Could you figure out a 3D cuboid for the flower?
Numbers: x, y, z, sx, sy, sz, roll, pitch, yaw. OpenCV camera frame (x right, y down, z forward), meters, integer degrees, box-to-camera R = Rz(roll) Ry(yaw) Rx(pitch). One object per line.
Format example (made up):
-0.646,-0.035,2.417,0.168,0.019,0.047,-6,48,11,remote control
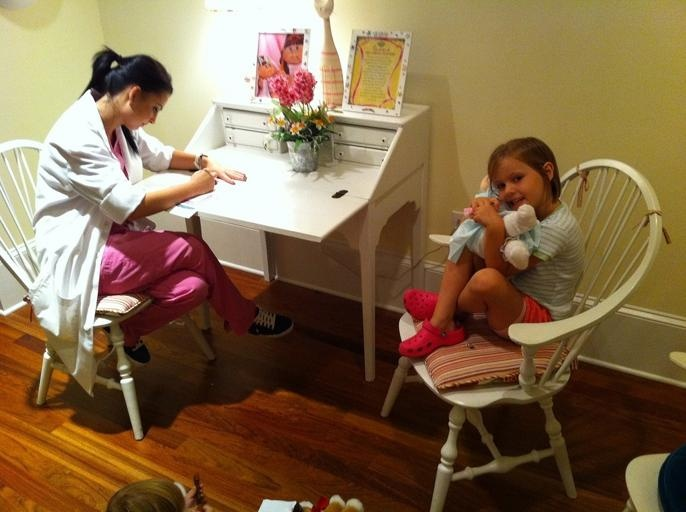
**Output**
-0.226,-0.653,2.262,0.365,0.377,0.293,-3,11,-20,flower

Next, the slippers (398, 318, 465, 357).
0.292,0.285,1.687,0.244,0.112,0.097,-16,53,13,slippers

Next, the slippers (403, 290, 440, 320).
0.282,0.175,1.800,0.136,0.077,0.057,13,12,31,slippers

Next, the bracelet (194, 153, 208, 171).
-0.679,-0.437,2.270,0.060,0.085,0.030,12,22,19,bracelet

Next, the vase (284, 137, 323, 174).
-0.190,-0.446,2.159,0.133,0.111,0.147,8,25,17,vase

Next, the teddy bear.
0.520,-0.090,1.605,0.270,0.244,0.268,18,31,23,teddy bear

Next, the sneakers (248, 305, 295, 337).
-0.350,0.304,2.324,0.270,0.109,0.102,2,47,-1,sneakers

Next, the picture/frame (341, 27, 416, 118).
0.160,-0.810,2.168,0.361,0.434,0.030,14,13,22,picture/frame
